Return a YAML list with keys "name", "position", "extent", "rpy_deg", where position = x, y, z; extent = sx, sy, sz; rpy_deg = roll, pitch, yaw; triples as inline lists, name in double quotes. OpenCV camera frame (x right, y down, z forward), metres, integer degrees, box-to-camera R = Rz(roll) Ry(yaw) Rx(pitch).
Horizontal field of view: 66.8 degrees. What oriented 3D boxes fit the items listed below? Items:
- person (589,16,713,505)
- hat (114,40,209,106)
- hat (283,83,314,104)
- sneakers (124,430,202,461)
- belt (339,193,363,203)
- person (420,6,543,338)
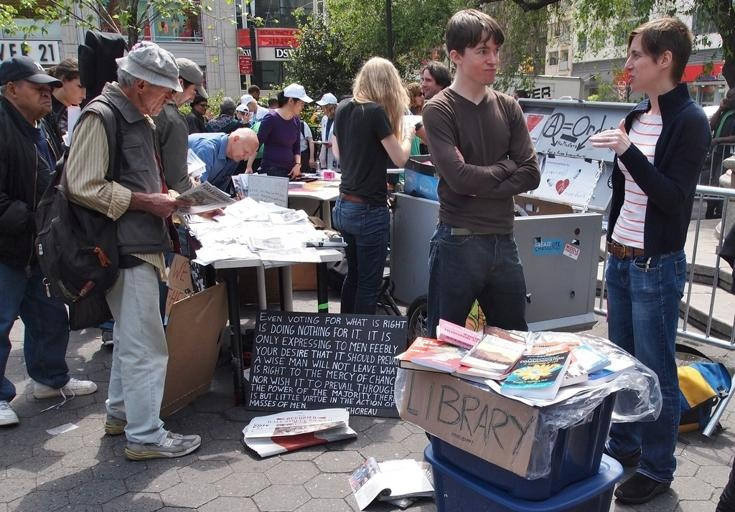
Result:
- name: "person"
  position: [1.696, 0.062, 3.430]
  extent: [0.640, 2.903, 0.578]
  rpy_deg: [-12, 17, -43]
- name: "hat"
  position: [-1.431, -1.255, 3.668]
  extent: [0.392, 0.322, 0.262]
  rpy_deg: [-5, 13, -23]
- name: "hat"
  position: [-1.044, -2.473, 8.467]
  extent: [0.432, 0.228, 0.277]
  rpy_deg: [1, 28, -17]
- name: "sneakers"
  position: [-1.411, 1.343, 3.915]
  extent: [0.499, 0.232, 0.194]
  rpy_deg: [-2, 4, -17]
- name: "belt"
  position: [-0.136, -0.507, 4.926]
  extent: [0.114, 0.030, 0.115]
  rpy_deg: [10, 2, -39]
- name: "person"
  position: [0.698, -0.470, 3.505]
  extent: [0.722, 2.096, 0.494]
  rpy_deg: [1, 12, 4]
